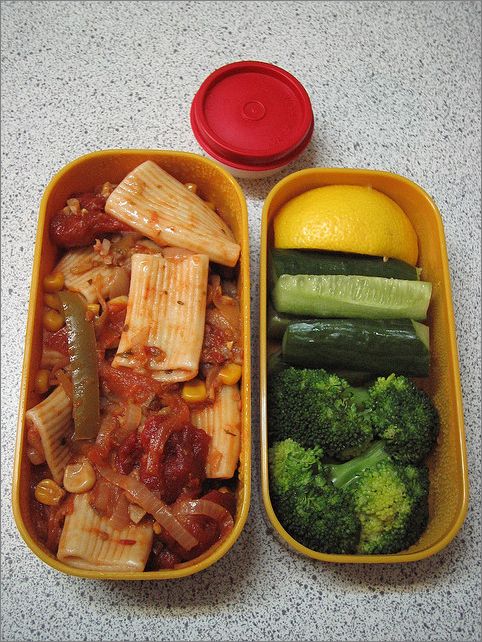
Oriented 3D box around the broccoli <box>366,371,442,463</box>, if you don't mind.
[{"bbox_3d":[0.409,0.245,1.592,0.202,0.068,0.212,-7,78,-5],"label":"broccoli"}]
